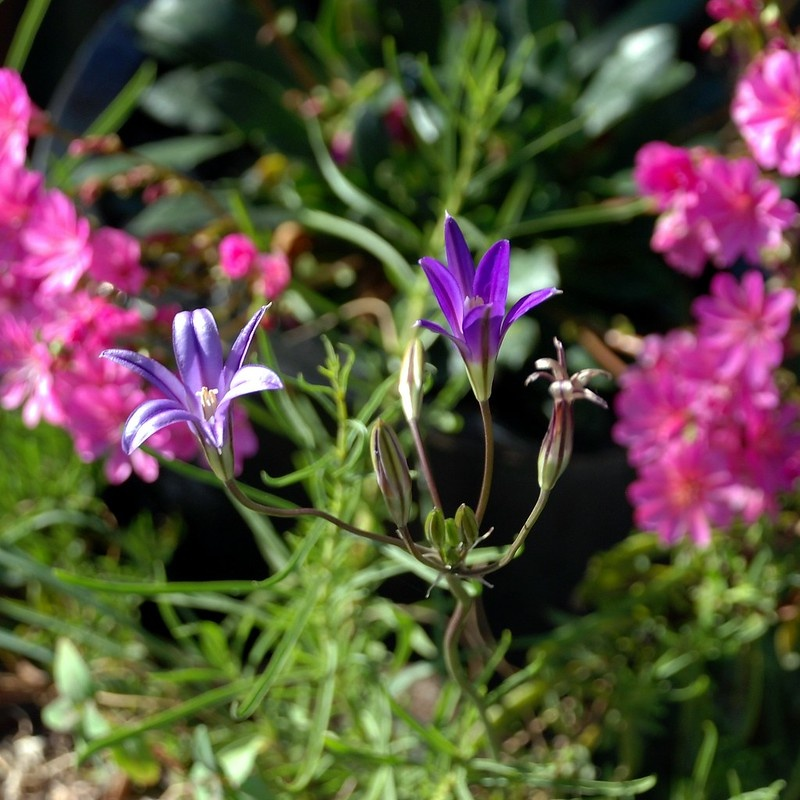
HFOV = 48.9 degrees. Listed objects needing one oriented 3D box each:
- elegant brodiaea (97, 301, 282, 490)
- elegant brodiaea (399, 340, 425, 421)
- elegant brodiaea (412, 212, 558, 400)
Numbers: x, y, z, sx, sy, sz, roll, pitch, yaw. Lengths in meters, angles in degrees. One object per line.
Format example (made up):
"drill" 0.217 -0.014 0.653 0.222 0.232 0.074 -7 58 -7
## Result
"elegant brodiaea" -0.097 0.006 0.507 0.099 0.085 0.099 12 46 21
"elegant brodiaea" 0.008 -0.011 0.503 0.018 0.015 0.049 -3 94 -17
"elegant brodiaea" 0.044 -0.050 0.471 0.055 0.100 0.053 -27 55 -14
